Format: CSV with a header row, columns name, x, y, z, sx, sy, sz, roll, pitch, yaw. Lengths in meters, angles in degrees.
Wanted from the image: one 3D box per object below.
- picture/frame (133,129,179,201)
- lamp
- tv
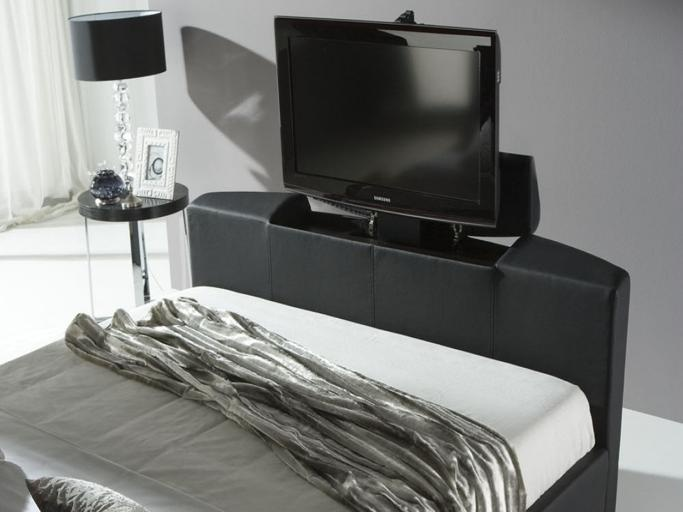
name,x,y,z,sx,sy,sz,roll,pitch,yaw
picture/frame,-1.094,-0.534,3.730,0.350,0.486,0.038,9,10,24
lamp,-1.301,-0.957,3.741,0.508,1.029,0.536,-2,15,-18
tv,0.232,-0.627,2.832,0.955,0.761,0.128,13,35,30
